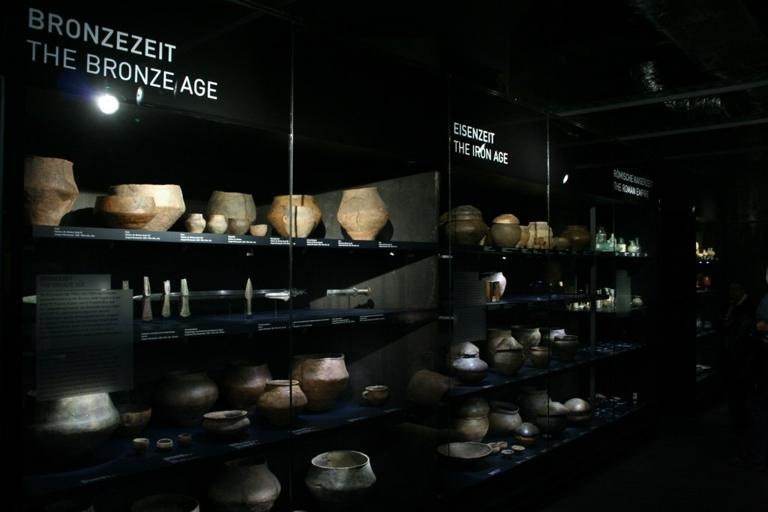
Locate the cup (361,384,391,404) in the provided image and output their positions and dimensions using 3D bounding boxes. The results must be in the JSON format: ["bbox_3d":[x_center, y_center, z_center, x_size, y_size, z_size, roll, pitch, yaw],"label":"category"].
[{"bbox_3d":[-0.055,0.892,3.685,0.142,0.083,0.114,-1,-2,15],"label":"cup"}]

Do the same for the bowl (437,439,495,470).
[{"bbox_3d":[0.571,1.431,4.083,0.306,0.082,0.307,-2,-2,0],"label":"bowl"}]

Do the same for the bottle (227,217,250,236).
[{"bbox_3d":[-0.821,-0.168,3.184,0.101,0.073,0.098,-1,-3,0],"label":"bottle"}]

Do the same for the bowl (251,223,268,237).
[{"bbox_3d":[-0.720,-0.154,3.277,0.087,0.076,0.023,-8,-1,-39],"label":"bowl"}]

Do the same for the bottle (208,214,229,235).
[{"bbox_3d":[-0.907,-0.174,3.103,0.104,0.120,0.101,0,-3,-24],"label":"bottle"}]

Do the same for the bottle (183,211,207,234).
[{"bbox_3d":[-1.018,-0.180,3.078,0.114,0.122,0.110,1,-4,-13],"label":"bottle"}]

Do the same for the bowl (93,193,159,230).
[{"bbox_3d":[-1.355,-0.244,2.989,0.315,0.183,0.308,2,12,-1],"label":"bowl"}]
